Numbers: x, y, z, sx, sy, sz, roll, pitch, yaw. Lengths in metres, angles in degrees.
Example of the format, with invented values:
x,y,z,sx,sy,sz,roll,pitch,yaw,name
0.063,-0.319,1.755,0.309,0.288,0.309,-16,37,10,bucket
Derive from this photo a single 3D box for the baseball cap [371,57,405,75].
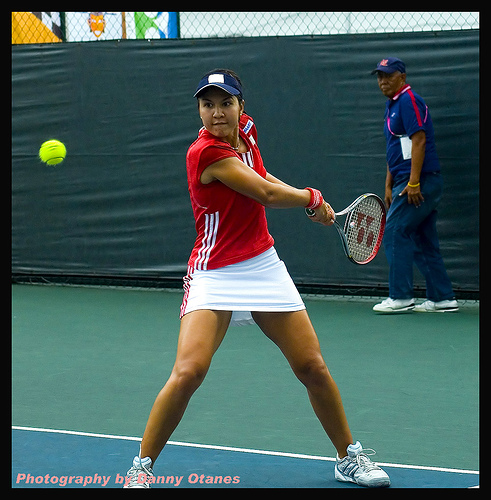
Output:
x,y,z,sx,sy,sz,roll,pitch,yaw,name
1.203,-1.522,5.264,0.232,0.121,0.158,-6,5,-40,baseball cap

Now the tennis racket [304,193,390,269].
x,y,z,sx,sy,sz,roll,pitch,yaw,name
0.551,-0.196,3.887,0.077,0.410,0.745,-5,31,-38,tennis racket

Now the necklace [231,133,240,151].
x,y,z,sx,sy,sz,roll,pitch,yaw,name
-0.034,-0.422,2.511,0.020,0.060,0.075,1,6,14,necklace

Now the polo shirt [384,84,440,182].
x,y,z,sx,sy,sz,roll,pitch,yaw,name
1.375,-1.061,5.457,0.368,0.756,0.626,-7,9,-6,polo shirt

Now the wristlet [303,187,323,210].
x,y,z,sx,sy,sz,roll,pitch,yaw,name
0.266,-0.215,2.550,0.052,0.079,0.074,-9,-29,32,wristlet

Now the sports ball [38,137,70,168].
x,y,z,sx,sy,sz,roll,pitch,yaw,name
-2.048,-1.054,6.812,0.289,0.258,0.315,0,-7,0,sports ball

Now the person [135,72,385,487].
x,y,z,sx,sy,sz,roll,pitch,yaw,name
-0.014,0.120,2.555,0.866,1.593,0.725,-2,6,-10,person
